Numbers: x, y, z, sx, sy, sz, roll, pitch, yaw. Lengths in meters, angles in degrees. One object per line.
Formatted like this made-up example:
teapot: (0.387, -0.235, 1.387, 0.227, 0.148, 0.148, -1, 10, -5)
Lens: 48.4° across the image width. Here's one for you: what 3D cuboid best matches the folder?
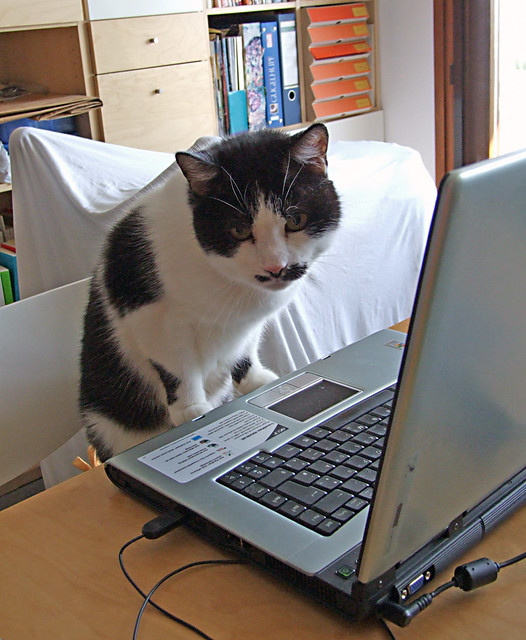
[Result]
folder: (0.045, -1.181, 2.787, 0.146, 0.493, 0.197, -23, 34, -39)
